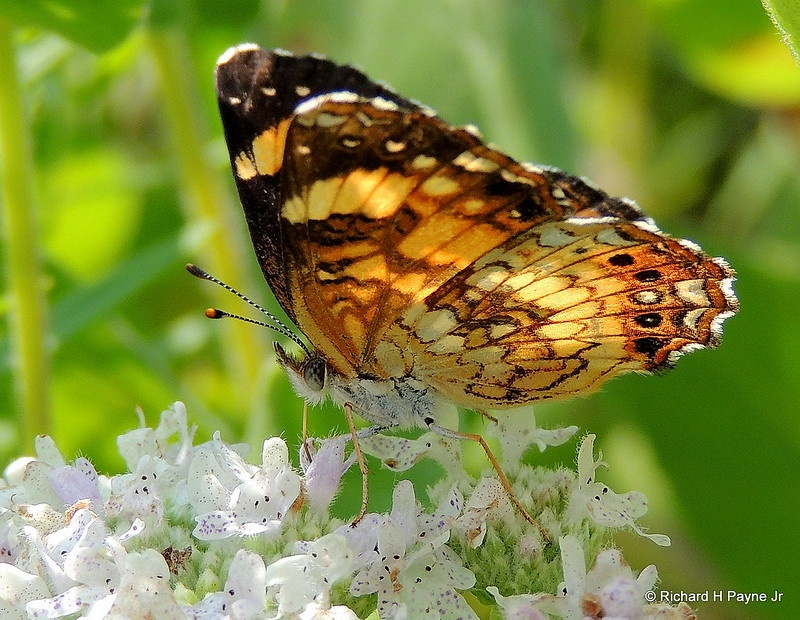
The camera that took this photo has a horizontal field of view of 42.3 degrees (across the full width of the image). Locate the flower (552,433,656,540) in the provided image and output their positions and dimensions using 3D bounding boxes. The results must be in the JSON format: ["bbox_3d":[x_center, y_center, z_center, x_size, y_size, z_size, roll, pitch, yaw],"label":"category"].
[{"bbox_3d":[0.703,0.599,3.346,0.386,0.168,0.348,18,10,18],"label":"flower"}]

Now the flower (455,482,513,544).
[{"bbox_3d":[0.241,0.622,3.231,0.085,0.211,0.165,38,14,4],"label":"flower"}]
